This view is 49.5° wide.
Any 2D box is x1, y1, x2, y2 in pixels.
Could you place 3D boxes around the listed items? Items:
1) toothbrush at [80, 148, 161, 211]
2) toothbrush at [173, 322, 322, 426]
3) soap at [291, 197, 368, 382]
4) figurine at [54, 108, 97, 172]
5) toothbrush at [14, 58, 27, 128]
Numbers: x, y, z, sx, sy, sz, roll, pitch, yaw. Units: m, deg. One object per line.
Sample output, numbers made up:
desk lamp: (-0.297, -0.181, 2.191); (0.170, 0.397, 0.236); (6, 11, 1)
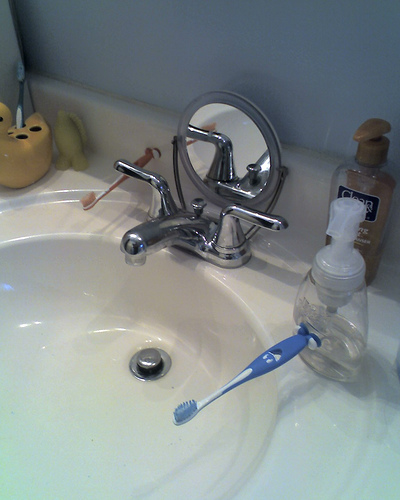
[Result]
toothbrush: (-0.125, -0.108, 0.688); (0.167, 0.034, 0.031); (-43, 22, -18)
toothbrush: (0.042, 0.120, 0.409); (0.162, 0.026, 0.035); (-34, -3, 4)
soap: (0.133, 0.041, 0.444); (0.086, 0.165, 0.079); (29, 44, 28)
figurine: (-0.226, -0.197, 0.773); (0.065, 0.099, 0.068); (7, 28, 18)
toothbrush: (-0.325, -0.281, 0.780); (0.007, 0.121, 0.018); (24, 23, 40)
